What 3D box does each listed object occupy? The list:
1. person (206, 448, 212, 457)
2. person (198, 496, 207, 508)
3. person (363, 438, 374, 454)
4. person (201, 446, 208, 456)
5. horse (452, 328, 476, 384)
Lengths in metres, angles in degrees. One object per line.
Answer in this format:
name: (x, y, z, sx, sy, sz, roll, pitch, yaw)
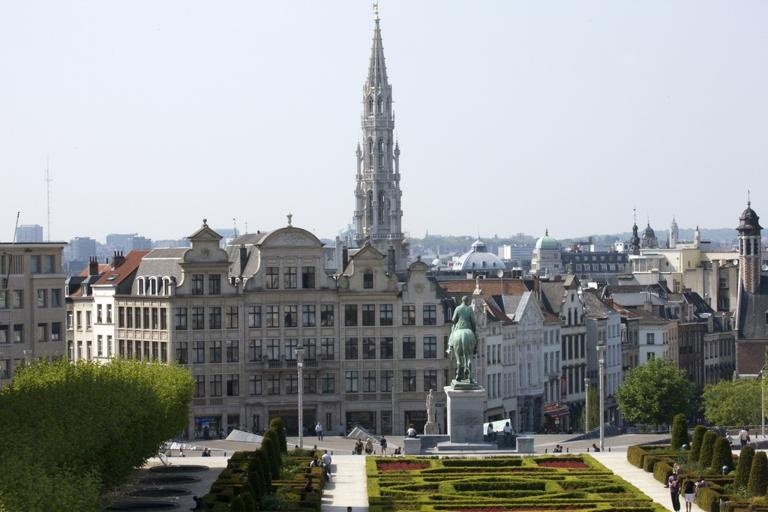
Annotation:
person: (-13.925, 15.784, 153.884, 0.634, 0.574, 1.096, 4, -5, -10)
person: (-11.941, 16.353, 126.874, 0.860, 1.004, 0.577, 0, 0, -2)
person: (-1.192, 15.859, 159.540, 0.759, 1.750, 0.972, -5, 4, -45)
person: (-14.395, 15.796, 155.269, 0.616, 0.559, 1.077, 1, 1, -3)
horse: (6.248, 7.828, 149.138, 1.741, 4.268, 2.404, -2, -7, 2)
